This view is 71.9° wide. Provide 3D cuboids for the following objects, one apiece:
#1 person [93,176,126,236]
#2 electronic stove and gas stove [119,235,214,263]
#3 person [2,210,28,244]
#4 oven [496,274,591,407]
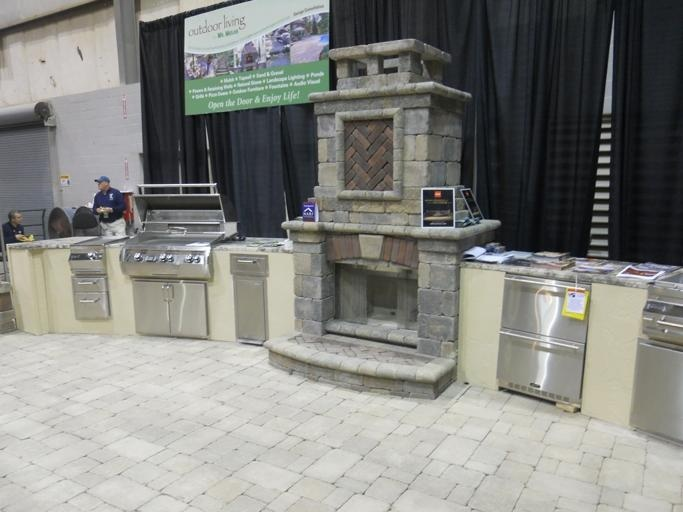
[{"bbox_3d":[-3.925,-0.821,7.942,0.507,0.989,0.412,-4,10,-9],"label":"person"},{"bbox_3d":[-2.179,-0.074,6.008,1.232,0.332,0.364,0,9,14],"label":"electronic stove and gas stove"},{"bbox_3d":[-5.460,-0.462,7.814,0.295,0.541,1.386,-9,10,-34],"label":"person"},{"bbox_3d":[2.151,0.776,4.561,0.989,1.079,0.892,0,4,-43],"label":"oven"}]
